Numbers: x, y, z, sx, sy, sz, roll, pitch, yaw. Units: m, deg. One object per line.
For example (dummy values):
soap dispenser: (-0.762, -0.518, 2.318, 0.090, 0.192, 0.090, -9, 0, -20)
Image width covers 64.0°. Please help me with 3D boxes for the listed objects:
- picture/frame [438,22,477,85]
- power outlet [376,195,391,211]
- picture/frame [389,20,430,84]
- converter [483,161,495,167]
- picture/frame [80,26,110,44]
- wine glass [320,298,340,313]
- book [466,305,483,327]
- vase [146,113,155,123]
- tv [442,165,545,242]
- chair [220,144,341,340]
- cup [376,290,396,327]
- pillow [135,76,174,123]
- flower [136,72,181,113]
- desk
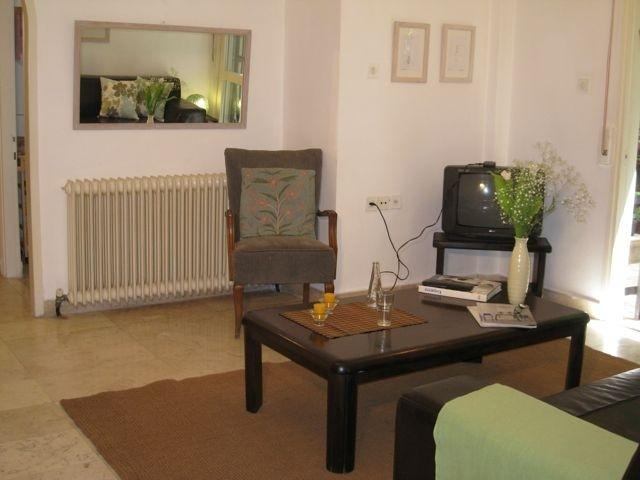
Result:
picture/frame: (1.174, -1.628, 4.433, 0.480, 0.653, 0.045, -6, 15, -22)
power outlet: (0.538, -0.320, 4.383, 0.122, 0.091, 0.027, -4, 10, -29)
picture/frame: (0.756, -1.565, 4.273, 0.343, 0.464, 0.014, 22, 34, 37)
converter: (1.399, -0.620, 4.218, 0.070, 0.061, 0.059, 5, 13, 16)
picture/frame: (-1.667, -1.515, 3.802, 0.199, 0.113, 0.013, -7, 14, -33)
wine glass: (0.042, 0.305, 2.455, 0.070, 0.068, 0.072, 2, 6, 1)
book: (0.777, 0.391, 2.530, 0.049, 0.014, 0.139, -3, 21, 8)
vase: (-1.345, -0.961, 4.064, 0.046, 0.070, 0.071, 4, 3, 24)
tv: (1.444, -0.362, 4.263, 0.719, 0.631, 0.425, 3, 22, 26)
chair: (-0.311, -0.031, 3.894, 0.811, 1.305, 0.915, 0, 6, -7)
cup: (0.298, 0.320, 2.404, 0.096, 0.166, 0.090, 0, 3, 0)
pillow: (-1.323, -1.069, 4.047, 0.237, 0.281, 0.262, 15, 19, 40)
flower: (-1.286, -1.176, 4.043, 0.285, 0.174, 0.293, 1, -18, -15)
desk: (1.361, -0.049, 4.239, 0.973, 0.867, 0.499, 3, 11, 26)
